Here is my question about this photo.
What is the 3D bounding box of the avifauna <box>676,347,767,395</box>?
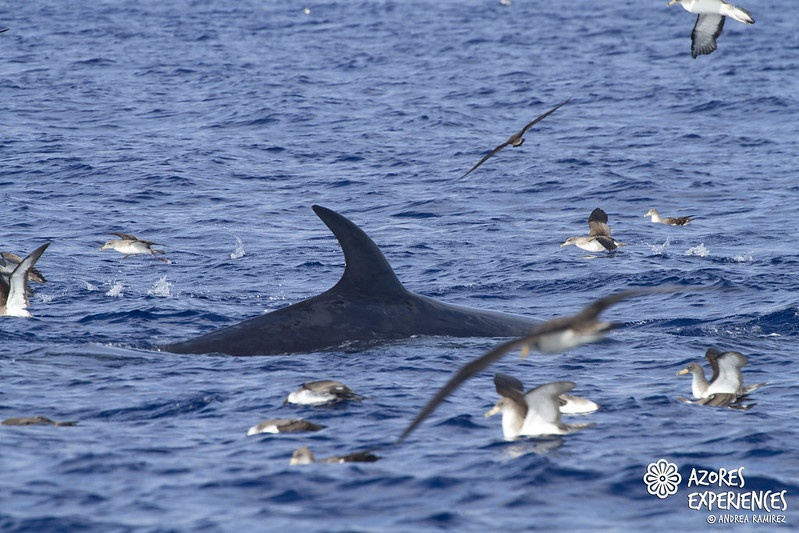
[{"bbox_3d":[5.728,1.991,20.495,1.202,0.406,1.328,4,10,43],"label":"avifauna"}]

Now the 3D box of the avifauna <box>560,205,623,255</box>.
[{"bbox_3d":[5.639,-0.786,32.604,1.264,0.933,1.342,27,65,25],"label":"avifauna"}]

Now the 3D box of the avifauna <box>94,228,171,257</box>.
[{"bbox_3d":[-7.263,-0.550,31.236,1.310,1.062,0.299,14,97,3],"label":"avifauna"}]

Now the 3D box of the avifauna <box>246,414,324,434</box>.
[{"bbox_3d":[-1.920,2.700,19.671,1.458,0.281,0.274,-3,41,-8],"label":"avifauna"}]

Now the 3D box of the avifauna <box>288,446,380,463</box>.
[{"bbox_3d":[-1.072,3.067,18.756,1.790,0.343,0.388,0,65,2],"label":"avifauna"}]
